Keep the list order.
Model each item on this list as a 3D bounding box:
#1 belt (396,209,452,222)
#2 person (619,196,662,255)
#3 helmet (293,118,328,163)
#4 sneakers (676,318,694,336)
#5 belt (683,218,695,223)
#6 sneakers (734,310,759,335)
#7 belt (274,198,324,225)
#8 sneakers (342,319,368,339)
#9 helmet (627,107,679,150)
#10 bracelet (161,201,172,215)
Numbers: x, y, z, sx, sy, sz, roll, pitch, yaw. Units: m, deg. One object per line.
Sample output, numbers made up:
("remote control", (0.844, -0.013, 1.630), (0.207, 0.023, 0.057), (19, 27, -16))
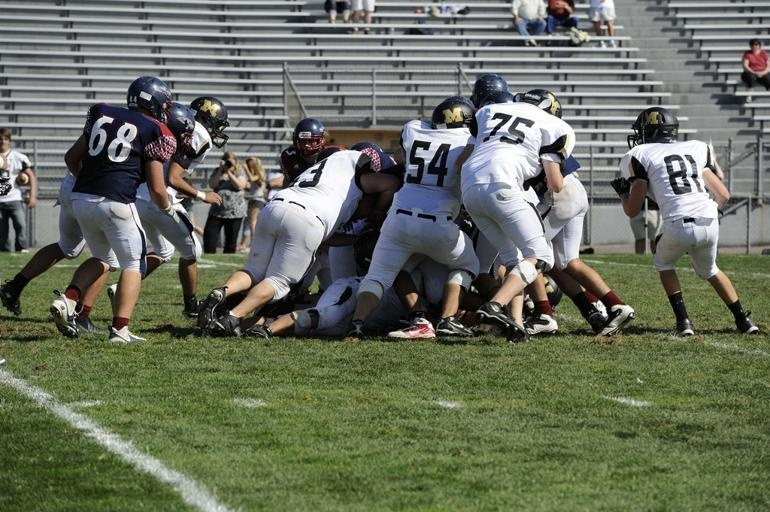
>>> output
("belt", (0.437, -0.433, 14.049), (0.589, 0.124, 0.152), (0, 3, -12))
("person", (3.906, -0.429, 19.485), (0.432, 1.215, 0.610), (8, 24, 37))
("helmet", (-0.854, -1.335, 14.994), (0.379, 0.395, 0.489), (0, 8, 0))
("sneakers", (3.353, 0.795, 14.327), (0.215, 0.191, 0.182), (1, 3, 7))
("belt", (3.393, -0.385, 14.302), (0.119, 0.049, 0.027), (-1, 3, 11))
("sneakers", (4.063, 0.760, 14.457), (0.160, 0.159, 0.332), (-19, 2, 9))
("belt", (-0.892, -0.510, 13.980), (0.362, 0.089, 0.285), (24, 10, -13))
("sneakers", (-0.317, 0.796, 14.242), (0.231, 0.217, 0.427), (1, 3, -1))
("helmet", (3.142, -1.469, 14.944), (0.556, 0.485, 0.465), (5, 7, 34))
("bracelet", (-2.389, -0.501, 14.119), (0.102, 0.127, 0.116), (-20, 39, -22))
